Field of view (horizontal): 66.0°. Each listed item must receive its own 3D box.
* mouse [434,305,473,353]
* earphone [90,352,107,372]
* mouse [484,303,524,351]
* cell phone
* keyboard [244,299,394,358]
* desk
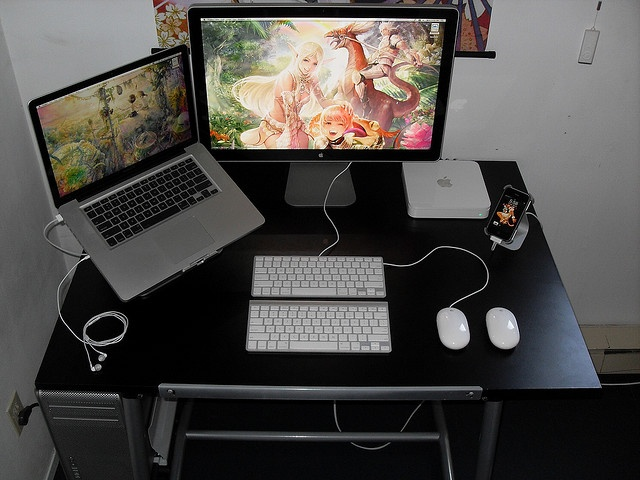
[{"bbox_3d":[0.356,0.233,1.299,0.091,0.053,0.105,4,38,3],"label":"mouse"},{"bbox_3d":[-0.567,0.307,1.249,0.028,0.011,0.040,5,39,-6],"label":"earphone"},{"bbox_3d":[0.485,0.234,1.298,0.092,0.052,0.105,7,38,6],"label":"mouse"},{"bbox_3d":[0.564,-0.068,1.487,0.103,0.204,0.040,29,5,28],"label":"cell phone"},{"bbox_3d":[-0.004,0.231,1.300,0.367,0.055,0.138,1,38,-2],"label":"keyboard"},{"bbox_3d":[0.007,0.551,1.871,1.431,1.056,0.827,-1,54,0],"label":"desk"}]
